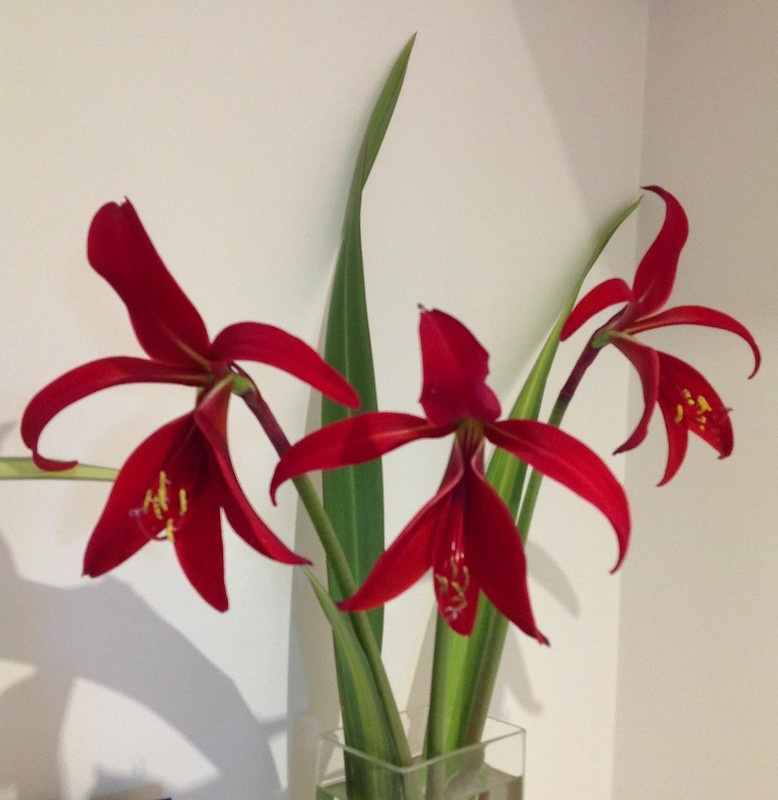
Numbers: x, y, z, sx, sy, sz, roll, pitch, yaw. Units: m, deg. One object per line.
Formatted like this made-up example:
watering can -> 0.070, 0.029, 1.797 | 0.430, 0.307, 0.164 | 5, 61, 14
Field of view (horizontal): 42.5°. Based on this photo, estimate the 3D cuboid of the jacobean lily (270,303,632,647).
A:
jacobean lily -> 0.050, 0.072, 1.020 | 0.349, 0.468, 0.163 | 4, -2, 10

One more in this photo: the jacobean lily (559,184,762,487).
jacobean lily -> 0.246, -0.068, 1.035 | 0.146, 0.332, 0.198 | 0, 1, -32
